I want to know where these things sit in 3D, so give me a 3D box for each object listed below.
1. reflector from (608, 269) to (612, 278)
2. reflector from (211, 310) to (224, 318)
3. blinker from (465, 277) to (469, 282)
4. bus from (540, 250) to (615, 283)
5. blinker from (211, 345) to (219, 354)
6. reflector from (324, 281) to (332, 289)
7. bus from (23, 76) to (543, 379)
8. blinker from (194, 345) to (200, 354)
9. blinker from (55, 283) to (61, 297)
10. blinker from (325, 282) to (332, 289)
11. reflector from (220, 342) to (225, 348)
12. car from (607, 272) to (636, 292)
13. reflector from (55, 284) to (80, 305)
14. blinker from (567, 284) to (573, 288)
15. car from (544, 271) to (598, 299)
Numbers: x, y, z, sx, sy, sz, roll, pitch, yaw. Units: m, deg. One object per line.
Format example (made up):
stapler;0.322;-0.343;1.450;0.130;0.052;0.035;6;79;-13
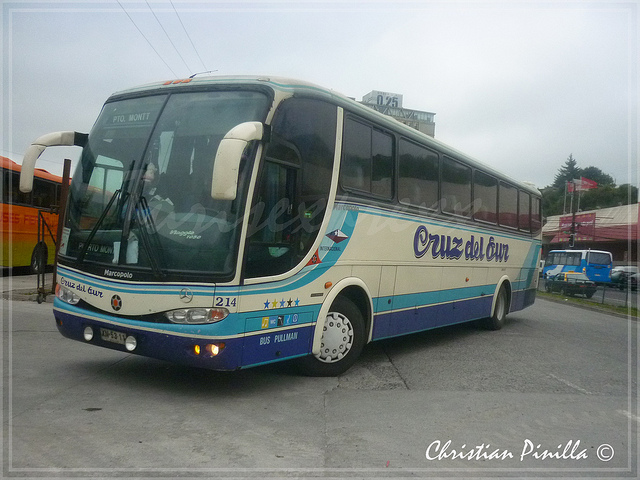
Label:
reflector;21.732;2.537;32.751;0.183;0.844;0.809;5;9;29
reflector;-1.192;0.867;5.056;0.089;0.096;0.022;4;1;-11
blinker;3.448;0.941;10.245;0.098;0.108;0.213;-4;-1;21
bus;18.597;1.865;32.405;2.487;2.211;4.643;2;1;-17
blinker;-1.217;1.277;5.038;0.082;0.083;0.086;1;-4;1
reflector;0.103;0.657;6.291;0.019;0.065;0.103;-5;3;34
bus;1.514;0.192;10.716;3.839;4.493;13.483;0;-3;33
blinker;-1.425;1.265;5.032;0.061;0.091;0.012;3;-1;6
blinker;-3.596;0.689;5.965;0.042;0.152;0.111;7;-6;-33
blinker;0.111;0.660;6.299;0.018;0.065;0.100;-5;2;35
reflector;-1.135;1.233;5.052;0.047;0.050;0.011;12;3;-24
car;25.301;3.606;36.548;3.625;1.647;1.876;10;-11;-44
reflector;-3.352;0.771;5.905;0.242;0.142;0.342;12;-6;34
blinker;17.097;3.154;29.851;0.231;0.240;0.059;3;-8;18
car;17.146;3.091;30.370;1.750;1.335;3.034;2;-1;-19
